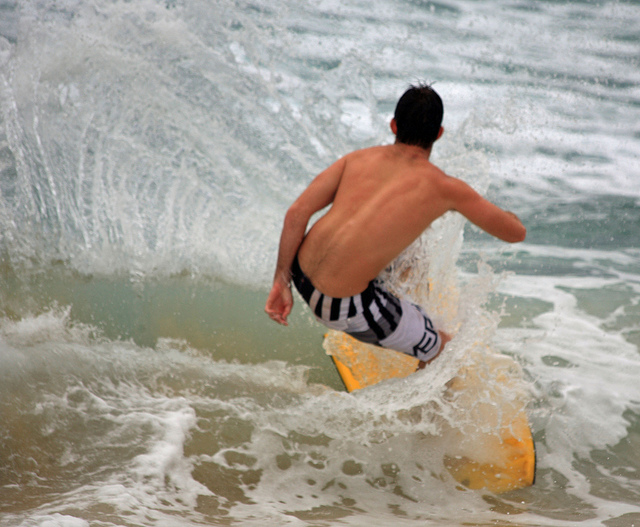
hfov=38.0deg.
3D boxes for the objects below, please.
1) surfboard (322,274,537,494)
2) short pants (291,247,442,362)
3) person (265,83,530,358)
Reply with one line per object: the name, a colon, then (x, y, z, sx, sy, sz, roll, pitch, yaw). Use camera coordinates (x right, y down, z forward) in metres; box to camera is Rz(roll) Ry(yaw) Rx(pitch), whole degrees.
surfboard: (0.781, 0.715, 6.628, 2.123, 0.700, 0.325, 51, -9, 28)
short pants: (0.357, 0.258, 6.227, 0.338, 0.368, 0.870, 46, 13, 30)
person: (0.534, -0.247, 6.764, 1.252, 1.882, 1.182, 36, 57, 17)
